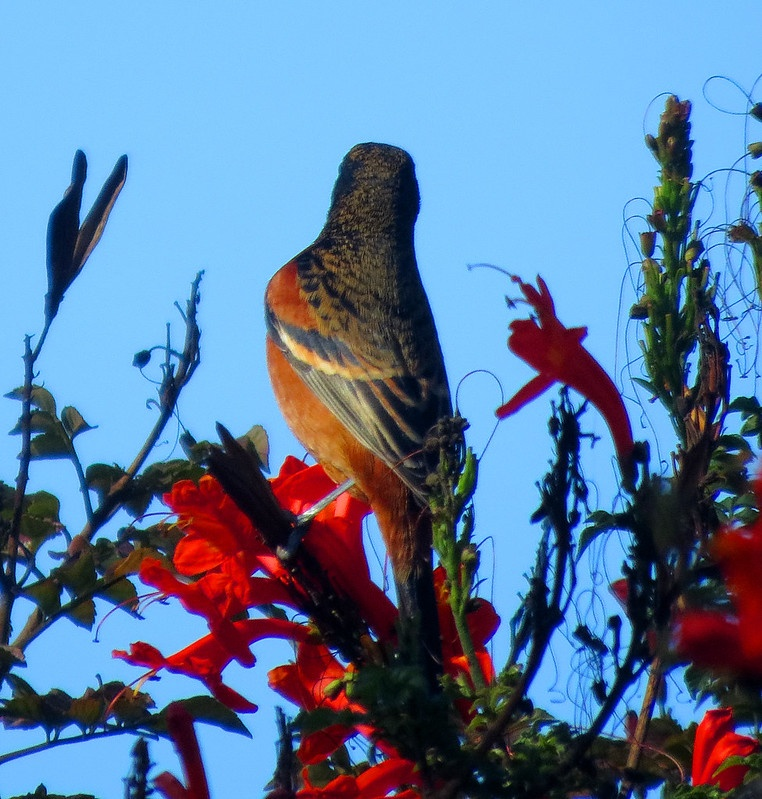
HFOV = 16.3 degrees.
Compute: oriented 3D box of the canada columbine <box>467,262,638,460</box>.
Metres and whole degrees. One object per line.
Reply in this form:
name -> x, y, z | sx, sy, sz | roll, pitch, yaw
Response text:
canada columbine -> 0.361, -0.090, 5.246 | 0.123, 0.567, 0.344 | -29, -17, 12
